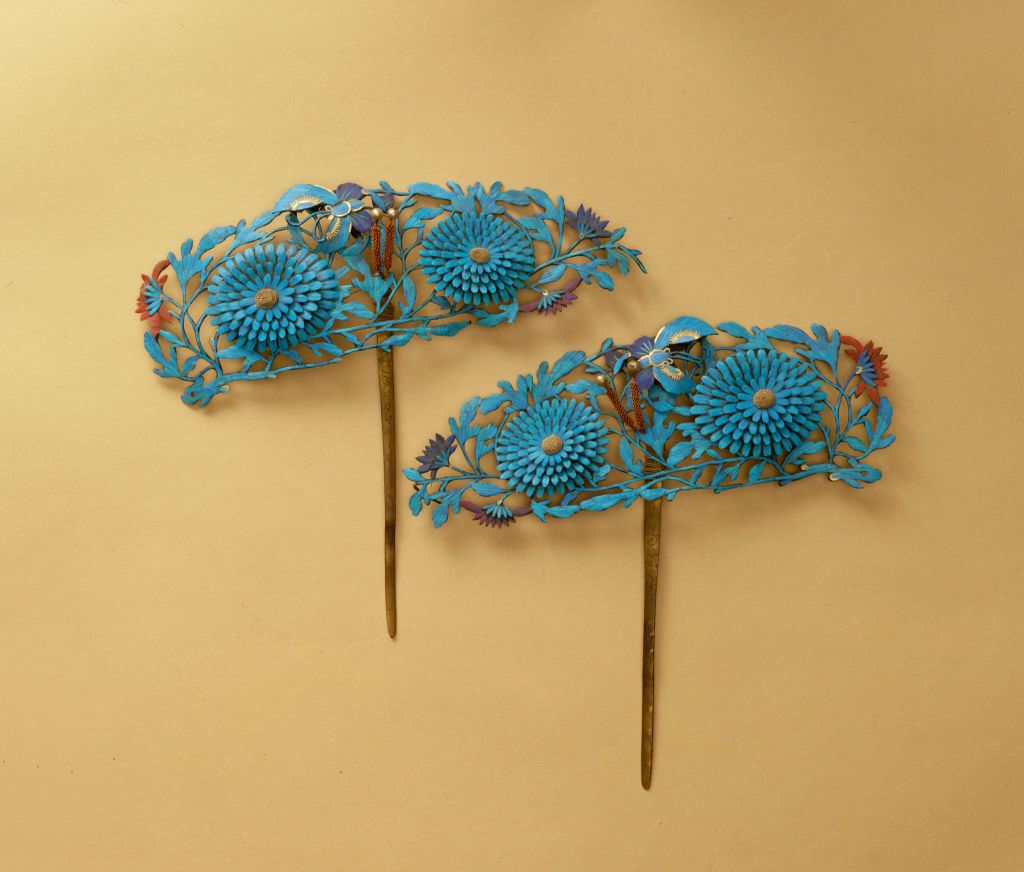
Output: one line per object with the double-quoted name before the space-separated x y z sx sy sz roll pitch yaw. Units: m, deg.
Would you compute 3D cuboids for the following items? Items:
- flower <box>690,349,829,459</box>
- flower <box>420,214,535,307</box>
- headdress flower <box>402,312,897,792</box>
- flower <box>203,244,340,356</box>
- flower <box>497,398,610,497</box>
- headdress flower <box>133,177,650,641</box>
"flower" 0.409 -0.054 3.200 0.208 0.133 0.170 15 50 13
"flower" -0.058 -0.293 3.200 0.181 0.114 0.123 -1 49 -2
"headdress flower" 0.261 0.167 3.235 1.116 0.104 0.765 -2 88 3
"flower" -0.408 -0.234 3.206 0.049 0.181 0.256 -6 11 44
"flower" 0.066 0.023 3.212 0.178 0.123 0.132 -5 50 -5
"headdress flower" -0.236 -0.072 3.353 0.996 0.765 0.122 -22 35 -31
